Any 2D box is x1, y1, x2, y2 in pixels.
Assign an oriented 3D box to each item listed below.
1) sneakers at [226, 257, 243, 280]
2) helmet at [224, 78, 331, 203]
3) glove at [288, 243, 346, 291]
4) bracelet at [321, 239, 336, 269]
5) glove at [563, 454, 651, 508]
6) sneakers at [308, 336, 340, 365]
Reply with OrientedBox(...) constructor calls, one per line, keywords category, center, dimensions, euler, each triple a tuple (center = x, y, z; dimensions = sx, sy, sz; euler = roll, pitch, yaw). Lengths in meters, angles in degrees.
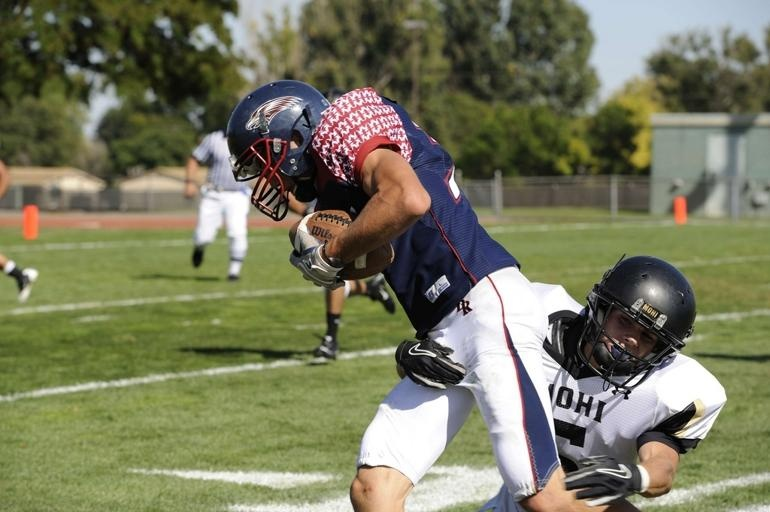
OrientedBox(category="sneakers", center=(-1.542, 0.133, 10.663), dimensions=(0.095, 0.354, 0.110), euler=(11, -25, -6))
OrientedBox(category="helmet", center=(-0.484, -0.584, 5.002), dimensions=(0.544, 0.447, 0.420), euler=(-43, 3, 12))
OrientedBox(category="glove", center=(-0.308, 0.043, 4.752), dimensions=(0.272, 0.207, 0.221), euler=(0, 2, 7))
OrientedBox(category="bracelet", center=(-0.258, -0.012, 4.645), dimensions=(0.083, 0.103, 0.074), euler=(8, -35, -34))
OrientedBox(category="glove", center=(0.981, 1.001, 4.599), dimensions=(0.302, 0.200, 0.123), euler=(-9, -11, -1))
OrientedBox(category="sneakers", center=(-0.433, 0.652, 7.230), dimensions=(0.092, 0.121, 0.269), euler=(1, 0, 11))
